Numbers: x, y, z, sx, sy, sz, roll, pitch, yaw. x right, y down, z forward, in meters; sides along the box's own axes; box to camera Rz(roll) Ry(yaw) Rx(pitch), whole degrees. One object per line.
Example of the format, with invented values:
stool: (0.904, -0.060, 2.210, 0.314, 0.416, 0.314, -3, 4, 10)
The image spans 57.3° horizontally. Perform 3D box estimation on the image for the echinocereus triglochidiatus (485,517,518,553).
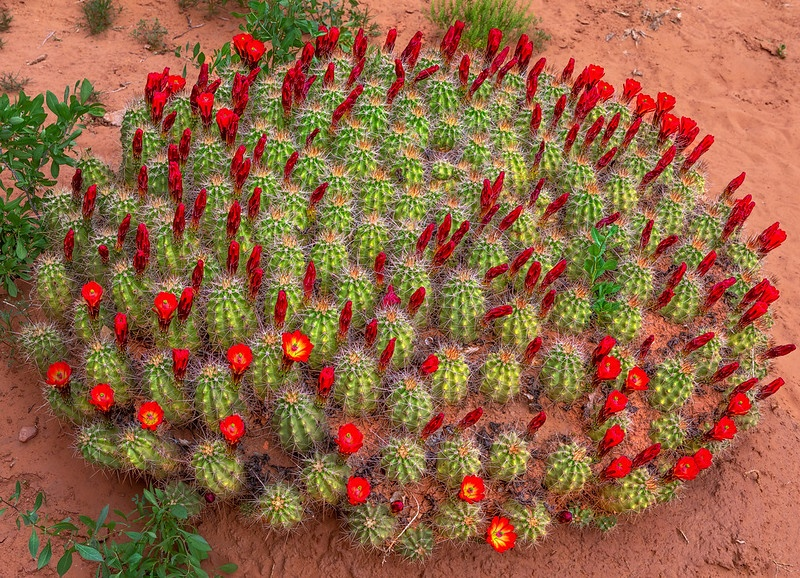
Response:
echinocereus triglochidiatus: (0.821, 1.982, 6.016, 0.225, 0.187, 0.268, 4, 49, -6)
